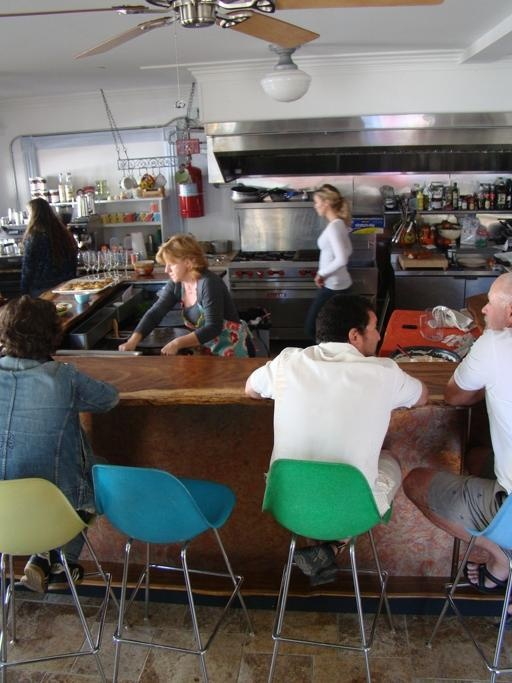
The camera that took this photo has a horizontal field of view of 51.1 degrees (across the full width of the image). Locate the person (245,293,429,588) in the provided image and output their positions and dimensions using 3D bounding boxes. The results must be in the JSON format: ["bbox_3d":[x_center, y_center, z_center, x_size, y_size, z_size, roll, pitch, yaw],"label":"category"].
[{"bbox_3d":[0.222,0.338,1.674,0.587,0.894,0.548,2,10,13],"label":"person"}]

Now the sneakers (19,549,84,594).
[{"bbox_3d":[-0.664,0.816,1.877,0.266,0.111,0.100,8,11,-30],"label":"sneakers"}]

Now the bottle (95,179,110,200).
[{"bbox_3d":[-1.825,-1.822,6.415,0.253,0.225,0.245,-2,15,-2],"label":"bottle"}]

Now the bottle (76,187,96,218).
[{"bbox_3d":[-1.952,-1.621,6.210,0.241,0.339,0.553,-9,16,-15],"label":"bottle"}]

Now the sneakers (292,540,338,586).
[{"bbox_3d":[0.177,0.697,1.682,0.177,0.076,0.103,15,21,-43],"label":"sneakers"}]

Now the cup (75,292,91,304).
[{"bbox_3d":[-1.245,-0.308,3.855,0.093,0.054,0.088,-2,10,0],"label":"cup"}]

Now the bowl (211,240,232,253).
[{"bbox_3d":[-0.385,-1.081,6.204,0.203,0.111,0.186,0,27,0],"label":"bowl"}]

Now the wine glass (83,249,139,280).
[{"bbox_3d":[-1.321,-0.724,4.998,0.255,0.281,0.827,-4,-2,17],"label":"wine glass"}]

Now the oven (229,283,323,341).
[{"bbox_3d":[0.179,-0.352,5.465,0.964,0.554,0.559,0,15,5],"label":"oven"}]

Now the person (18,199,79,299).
[{"bbox_3d":[-1.682,-0.755,4.285,0.513,0.747,0.276,-16,20,-34],"label":"person"}]

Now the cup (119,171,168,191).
[{"bbox_3d":[-1.295,-1.852,6.256,0.519,0.200,0.260,3,17,1],"label":"cup"}]

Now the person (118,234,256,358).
[{"bbox_3d":[-0.418,-0.192,3.012,0.553,0.782,0.715,1,17,20],"label":"person"}]

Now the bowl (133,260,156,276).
[{"bbox_3d":[-1.015,-0.667,4.912,0.178,0.103,0.172,0,8,0],"label":"bowl"}]

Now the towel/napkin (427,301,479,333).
[{"bbox_3d":[1.209,-0.148,3.279,0.313,0.104,0.300,3,12,12],"label":"towel/napkin"}]
